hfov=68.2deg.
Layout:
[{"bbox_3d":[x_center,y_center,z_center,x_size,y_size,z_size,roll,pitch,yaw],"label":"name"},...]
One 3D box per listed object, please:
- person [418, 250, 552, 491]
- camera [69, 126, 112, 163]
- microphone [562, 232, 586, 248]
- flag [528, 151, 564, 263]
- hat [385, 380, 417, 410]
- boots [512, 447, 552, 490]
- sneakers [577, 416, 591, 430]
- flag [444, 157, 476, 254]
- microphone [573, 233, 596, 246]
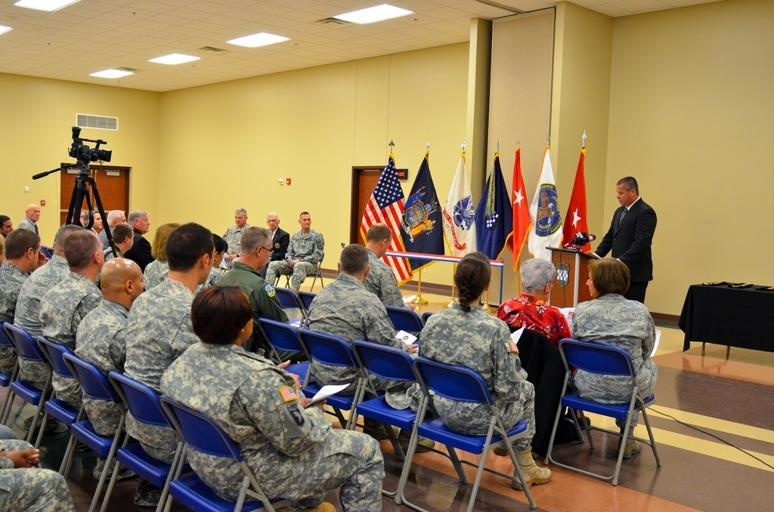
[{"bbox_3d":[0.695,0.863,3.967,0.977,1.742,0.566,-4,10,-31],"label":"person"},{"bbox_3d":[-3.743,-1.389,7.159,0.469,0.405,0.471,15,8,22],"label":"camera"},{"bbox_3d":[2.498,-0.203,7.511,0.347,0.226,0.249,-6,4,0],"label":"microphone"},{"bbox_3d":[2.395,-0.798,8.636,0.482,1.602,0.395,5,9,25],"label":"flag"},{"bbox_3d":[0.109,1.012,4.148,0.195,0.074,0.196,15,35,23],"label":"hat"},{"bbox_3d":[1.094,1.571,4.301,0.332,0.317,0.141,-4,6,-22],"label":"boots"},{"bbox_3d":[1.717,1.471,5.025,0.085,0.103,0.114,-9,27,2],"label":"sneakers"},{"bbox_3d":[1.260,-0.838,9.320,0.588,1.689,0.486,7,10,35],"label":"flag"},{"bbox_3d":[2.660,-0.231,7.779,0.360,0.157,0.118,-21,9,-34],"label":"microphone"}]
